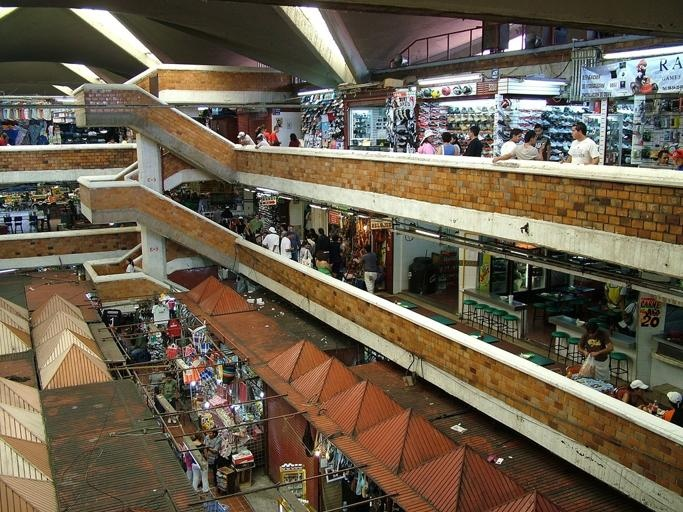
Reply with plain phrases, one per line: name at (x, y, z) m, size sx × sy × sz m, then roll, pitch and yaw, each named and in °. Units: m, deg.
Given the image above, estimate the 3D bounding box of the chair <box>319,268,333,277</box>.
chair at (-0.416, 0.455, 14.630) m, size 0.319 × 0.244 × 0.719 m, roll 3°, pitch 10°, yaw -3°

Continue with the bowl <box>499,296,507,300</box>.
bowl at (3.787, 0.991, 12.998) m, size 0.102 × 0.040 × 0.104 m, roll 6°, pitch 6°, yaw -1°

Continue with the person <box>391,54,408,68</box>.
person at (1.861, -6.181, 17.743) m, size 0.512 × 0.498 × 1.089 m, roll 4°, pitch 10°, yaw 2°

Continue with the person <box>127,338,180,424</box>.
person at (-4.166, 2.814, 12.417) m, size 0.721 × 0.403 × 1.781 m, roll -1°, pitch 32°, yaw -27°

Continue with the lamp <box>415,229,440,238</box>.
lamp at (1.668, -0.420, 10.748) m, size 0.114 × 0.117 × 0.964 m, roll 0°, pitch 11°, yaw -19°

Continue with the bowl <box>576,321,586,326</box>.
bowl at (4.842, 1.372, 11.265) m, size 0.163 × 0.140 × 0.102 m, roll 2°, pitch 3°, yaw 40°

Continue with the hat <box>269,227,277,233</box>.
hat at (-2.095, -0.745, 16.956) m, size 0.220 × 0.086 × 0.222 m, roll 12°, pitch 23°, yaw 20°

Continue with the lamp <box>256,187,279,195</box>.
lamp at (-2.172, -1.926, 16.517) m, size 0.180 × 0.142 × 1.334 m, roll -13°, pitch 15°, yaw -34°

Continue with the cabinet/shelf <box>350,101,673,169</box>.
cabinet/shelf at (3.429, -2.340, 10.808) m, size 2.625 × 0.653 × 2.725 m, roll 2°, pitch 10°, yaw -33°
